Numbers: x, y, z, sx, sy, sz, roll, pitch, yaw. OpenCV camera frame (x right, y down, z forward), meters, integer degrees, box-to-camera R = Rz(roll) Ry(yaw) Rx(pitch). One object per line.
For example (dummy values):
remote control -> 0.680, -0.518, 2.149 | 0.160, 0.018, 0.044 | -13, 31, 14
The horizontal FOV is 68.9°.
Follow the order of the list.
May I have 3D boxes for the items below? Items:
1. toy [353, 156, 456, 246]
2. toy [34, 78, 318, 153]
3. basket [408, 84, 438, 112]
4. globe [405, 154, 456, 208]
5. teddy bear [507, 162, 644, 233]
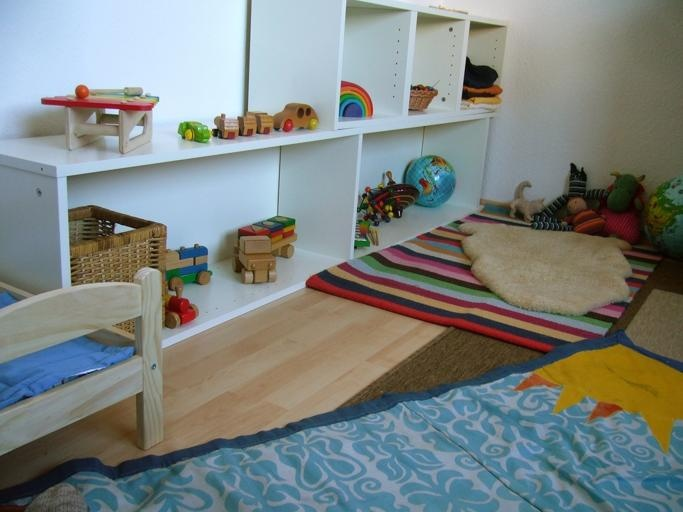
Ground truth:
toy -> 0.325, -0.325, 2.774 | 0.626, 0.460, 0.275 | -23, 73, -33
toy -> -0.472, -0.451, 1.572 | 0.266, 0.175, 0.835 | 18, 27, 40
basket -> 0.411, -0.805, 2.527 | 0.143, 0.069, 0.148 | 0, 18, 3
globe -> 0.547, -0.498, 3.067 | 0.300, 0.314, 0.276 | 15, 19, 25
teddy bear -> 1.384, -0.322, 2.846 | 0.665, 0.361, 0.354 | 3, 20, 7
